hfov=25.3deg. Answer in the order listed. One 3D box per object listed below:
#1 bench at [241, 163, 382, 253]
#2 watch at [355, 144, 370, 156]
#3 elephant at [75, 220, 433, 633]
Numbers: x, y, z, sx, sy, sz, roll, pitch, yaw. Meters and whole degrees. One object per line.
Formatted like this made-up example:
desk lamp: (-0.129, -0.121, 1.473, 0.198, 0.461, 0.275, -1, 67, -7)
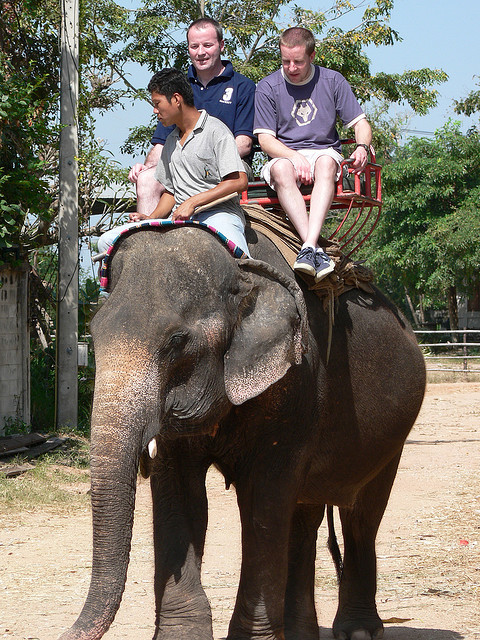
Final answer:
bench: (0.301, -0.493, 4.341, 0.490, 0.363, 0.301, -2, 8, -18)
watch: (0.499, -0.703, 4.361, 0.044, 0.047, 0.012, 19, 50, 35)
elephant: (0.113, 0.459, 3.663, 0.762, 1.590, 2.120, 0, -1, 14)
